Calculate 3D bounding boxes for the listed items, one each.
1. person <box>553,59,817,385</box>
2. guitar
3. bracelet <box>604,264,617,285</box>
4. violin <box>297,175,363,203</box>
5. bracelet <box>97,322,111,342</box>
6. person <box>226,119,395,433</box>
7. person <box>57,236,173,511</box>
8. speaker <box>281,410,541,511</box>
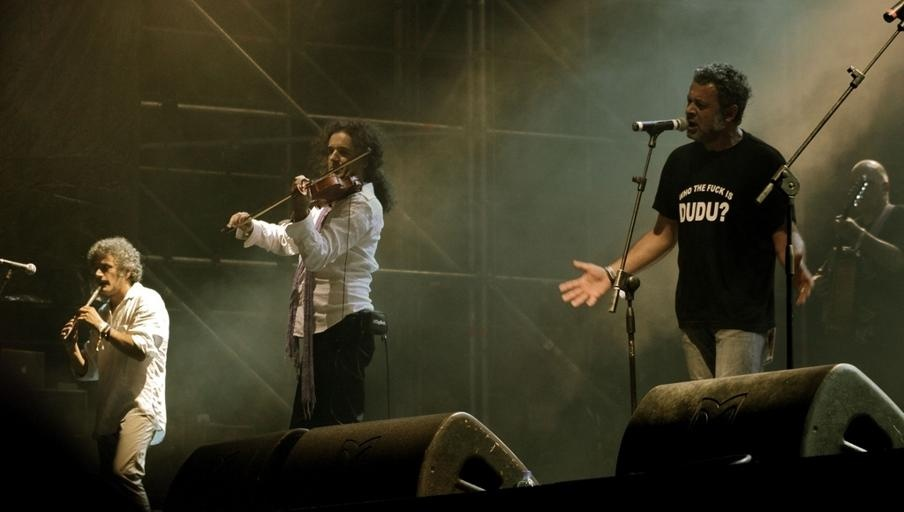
[{"bbox_3d":[1.508,-0.221,6.065,1.067,1.962,0.396,1,2,16],"label":"person"},{"bbox_3d":[2.951,-0.031,7.349,0.170,1.027,0.436,5,17,5],"label":"guitar"},{"bbox_3d":[1.011,0.115,6.169,0.106,0.034,0.079,34,17,-49],"label":"bracelet"},{"bbox_3d":[-0.800,-0.440,6.557,0.344,0.085,0.174,-2,-16,-42],"label":"violin"},{"bbox_3d":[-2.366,0.508,6.634,0.081,0.116,0.110,6,-12,-26],"label":"bracelet"},{"bbox_3d":[-0.891,0.100,6.621,0.909,2.057,0.614,1,2,-4],"label":"person"},{"bbox_3d":[-2.272,0.783,6.834,0.751,1.800,0.478,2,2,39],"label":"person"},{"bbox_3d":[-0.271,1.118,5.377,1.374,0.584,0.414,2,2,26],"label":"speaker"}]
